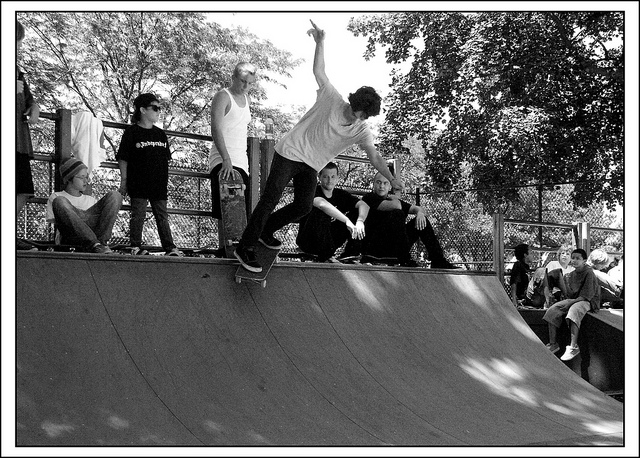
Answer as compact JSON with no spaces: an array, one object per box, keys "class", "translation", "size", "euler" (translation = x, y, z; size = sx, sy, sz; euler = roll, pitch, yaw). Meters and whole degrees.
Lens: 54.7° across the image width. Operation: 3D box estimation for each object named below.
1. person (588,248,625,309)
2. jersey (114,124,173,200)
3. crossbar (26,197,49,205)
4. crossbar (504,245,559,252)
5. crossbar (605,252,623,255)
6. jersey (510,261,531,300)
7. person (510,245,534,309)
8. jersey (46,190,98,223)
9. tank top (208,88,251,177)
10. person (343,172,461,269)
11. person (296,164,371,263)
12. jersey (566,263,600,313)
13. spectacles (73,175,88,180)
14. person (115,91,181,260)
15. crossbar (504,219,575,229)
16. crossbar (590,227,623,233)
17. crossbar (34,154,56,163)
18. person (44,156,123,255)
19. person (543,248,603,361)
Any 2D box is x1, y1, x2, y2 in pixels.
[{"class":"person","translation":[5.270,0.980,11.294],"size":[0.654,1.300,0.528],"euler":[-6,12,30]},{"class":"jersey","translation":[-2.140,-0.817,7.472],"size":[0.613,0.884,0.315],"euler":[3,4,-17]},{"class":"crossbar","translation":[-3.473,-0.353,7.612],"size":[0.208,0.088,0.280],"euler":[3,4,-23]},{"class":"crossbar","translation":[4.271,0.396,12.469],"size":[1.271,0.148,0.700],"euler":[1,5,-43]},{"class":"crossbar","translation":[6.890,0.563,14.450],"size":[0.390,0.065,0.028],"euler":[5,-1,-23]},{"class":"jersey","translation":[3.675,0.890,11.213],"size":[0.201,0.621,0.598],"euler":[-10,4,-25]},{"class":"person","translation":[3.607,0.795,11.121],"size":[0.298,1.036,0.624],"euler":[5,4,26]},{"class":"jersey","translation":[-2.825,-0.247,7.049],"size":[0.526,0.369,0.574],"euler":[2,4,-26]},{"class":"tank top","translation":[-1.038,-1.197,7.672],"size":[0.208,1.009,0.590],"euler":[5,4,24]},{"class":"person","translation":[0.986,-0.133,8.672],"size":[1.302,1.701,0.945],"euler":[-21,-20,32]},{"class":"person","translation":[0.175,-0.102,8.303],"size":[1.017,1.774,0.741],"euler":[-12,-14,42]},{"class":"jersey","translation":[4.368,0.945,10.327],"size":[0.402,0.721,0.498],"euler":[-6,7,-26]},{"class":"spectacles","translation":[-2.771,-0.607,7.215],"size":[0.106,0.054,0.254],"euler":[5,4,5]},{"class":"person","translation":[-2.091,-0.692,7.434],"size":[0.755,1.889,0.755],"euler":[3,4,-5]},{"class":"crossbar","translation":[4.261,-0.106,12.115],"size":[2.722,0.135,0.327],"euler":[1,5,-44]},{"class":"crossbar","translation":[6.809,0.008,14.801],"size":[1.329,0.068,0.368],"euler":[1,5,-45]},{"class":"crossbar","translation":[-3.339,-0.857,7.453],"size":[0.190,0.091,0.291],"euler":[8,5,41]},{"class":"person","translation":[-2.668,-0.287,7.013],"size":[0.735,1.042,1.437],"euler":[1,5,-35]},{"class":"person","translation":[4.150,1.325,10.232],"size":[0.841,1.570,0.599],"euler":[2,4,-28]}]
